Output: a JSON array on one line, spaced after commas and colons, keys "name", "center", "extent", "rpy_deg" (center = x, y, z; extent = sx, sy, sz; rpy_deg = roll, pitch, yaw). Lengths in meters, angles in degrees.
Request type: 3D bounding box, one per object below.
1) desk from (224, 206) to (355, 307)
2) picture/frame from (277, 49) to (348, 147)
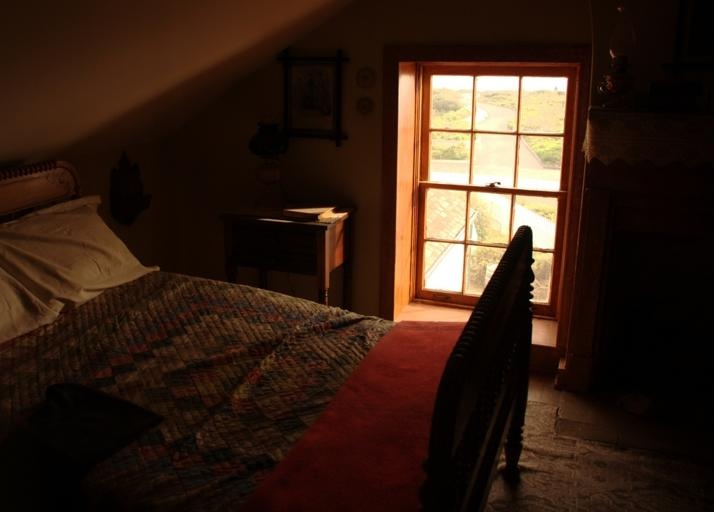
[{"name": "desk", "center": [-0.477, 0.110, 3.788], "extent": [0.772, 0.856, 0.544], "rpy_deg": [6, 18, 13]}, {"name": "picture/frame", "center": [-0.285, -1.085, 3.635], "extent": [0.575, 0.726, 0.058], "rpy_deg": [5, 19, 17]}]
